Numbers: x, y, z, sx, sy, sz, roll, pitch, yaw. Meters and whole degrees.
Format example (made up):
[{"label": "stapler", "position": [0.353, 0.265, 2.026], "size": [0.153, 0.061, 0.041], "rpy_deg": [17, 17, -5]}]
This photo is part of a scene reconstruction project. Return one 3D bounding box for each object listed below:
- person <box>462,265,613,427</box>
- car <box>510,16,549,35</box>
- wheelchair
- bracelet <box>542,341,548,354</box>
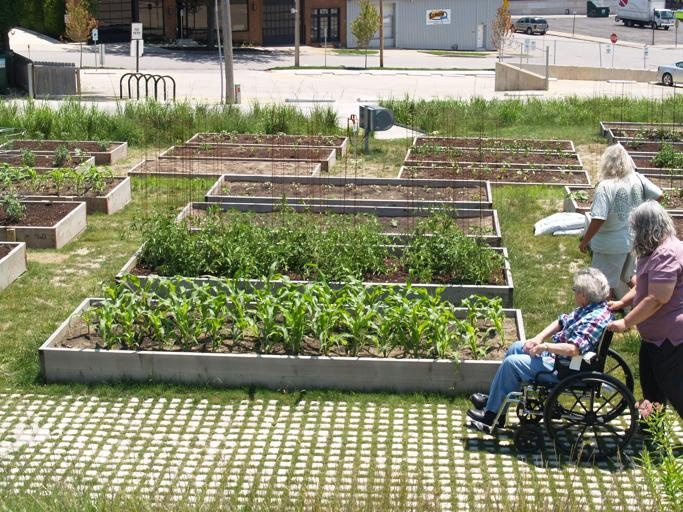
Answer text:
[{"label": "person", "position": [1.771, 0.834, 6.640], "size": [1.138, 1.599, 0.810], "rpy_deg": [4, 21, 0]}, {"label": "car", "position": [12.633, -15.429, 51.420], "size": [1.614, 1.030, 2.992], "rpy_deg": [-1, 19, -8]}, {"label": "wheelchair", "position": [1.941, 1.159, 6.872], "size": [1.261, 1.204, 0.992], "rpy_deg": [1, 11, 12]}, {"label": "bracelet", "position": [1.716, 0.765, 6.416], "size": [0.043, 0.064, 0.021], "rpy_deg": [13, 6, 30]}]
